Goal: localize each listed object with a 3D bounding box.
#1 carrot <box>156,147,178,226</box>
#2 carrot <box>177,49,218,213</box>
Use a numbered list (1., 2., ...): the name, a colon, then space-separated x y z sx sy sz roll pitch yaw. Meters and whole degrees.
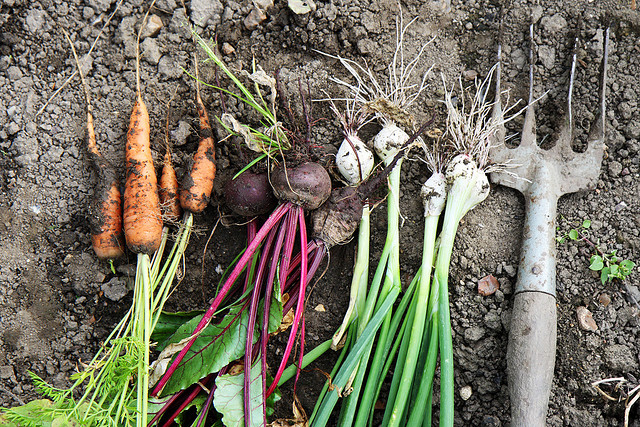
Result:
1. carrot: -0.723 -0.115 2.829 0.087 0.383 0.085 -4 -9 2
2. carrot: -0.551 -0.341 2.853 0.167 0.856 0.159 -6 -12 33
